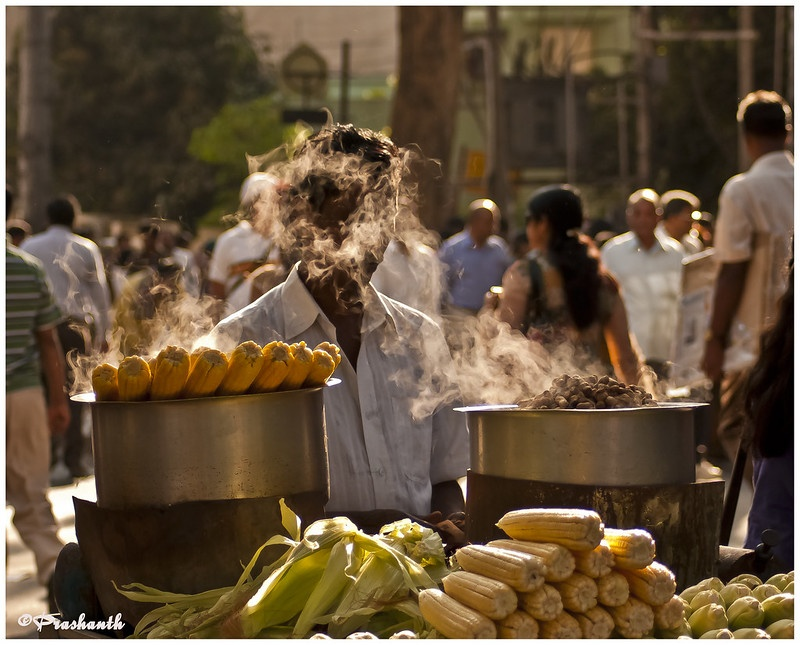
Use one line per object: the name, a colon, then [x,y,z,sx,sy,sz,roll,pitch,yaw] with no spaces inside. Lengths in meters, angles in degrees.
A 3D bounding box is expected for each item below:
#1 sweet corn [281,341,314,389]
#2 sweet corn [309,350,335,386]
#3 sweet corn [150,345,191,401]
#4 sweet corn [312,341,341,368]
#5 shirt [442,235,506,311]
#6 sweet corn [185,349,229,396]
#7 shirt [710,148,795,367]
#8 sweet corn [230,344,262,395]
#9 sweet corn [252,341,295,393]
sweet corn: [-0.485,0.201,6.423,0.107,0.256,0.085,4,20,-13]
sweet corn: [-0.377,0.220,6.459,0.083,0.194,0.072,4,40,-15]
sweet corn: [-1.070,0.232,6.287,0.123,0.307,0.112,9,28,-11]
sweet corn: [-0.344,0.132,6.581,0.090,0.080,0.139,0,-43,23]
shirt: [0.650,-0.431,12.018,0.617,0.711,0.369,3,-9,-12]
sweet corn: [-0.910,0.231,6.319,0.131,0.224,0.117,17,9,18]
shirt: [2.501,-0.425,9.550,0.555,1.572,0.432,-1,2,15]
sweet corn: [-0.722,0.202,6.353,0.112,0.266,0.092,11,5,-29]
sweet corn: [-0.602,0.208,6.386,0.100,0.288,0.132,26,3,31]
